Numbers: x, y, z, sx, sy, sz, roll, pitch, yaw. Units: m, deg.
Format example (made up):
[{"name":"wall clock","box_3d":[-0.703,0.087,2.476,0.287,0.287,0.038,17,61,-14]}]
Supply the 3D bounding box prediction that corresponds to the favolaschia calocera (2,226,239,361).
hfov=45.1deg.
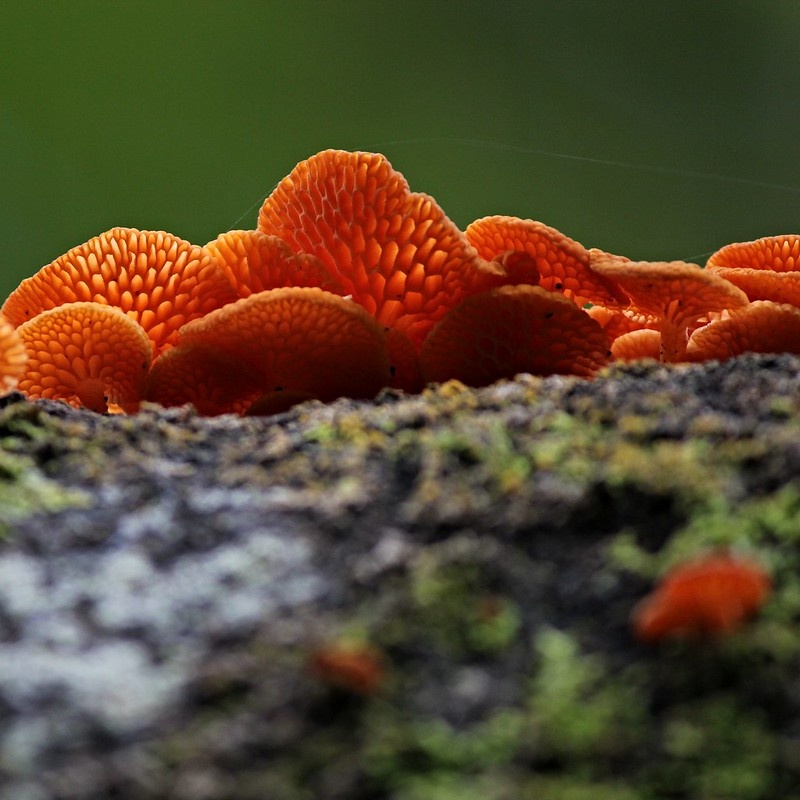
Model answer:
[{"name":"favolaschia calocera","box_3d":[-0.300,-0.135,1.105,0.207,0.082,0.180,-14,1,-40]}]

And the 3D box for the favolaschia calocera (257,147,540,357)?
[{"name":"favolaschia calocera","box_3d":[-0.010,-0.201,1.079,0.272,0.258,0.121,31,-54,-1]}]

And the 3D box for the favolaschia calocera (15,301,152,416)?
[{"name":"favolaschia calocera","box_3d":[-0.327,-0.045,1.067,0.155,0.047,0.125,-5,-55,17]}]

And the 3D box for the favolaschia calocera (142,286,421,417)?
[{"name":"favolaschia calocera","box_3d":[-0.136,-0.043,1.016,0.202,0.045,0.174,-14,-29,20]}]

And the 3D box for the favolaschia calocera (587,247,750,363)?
[{"name":"favolaschia calocera","box_3d":[0.314,-0.096,1.098,0.191,0.091,0.203,2,-12,30]}]
